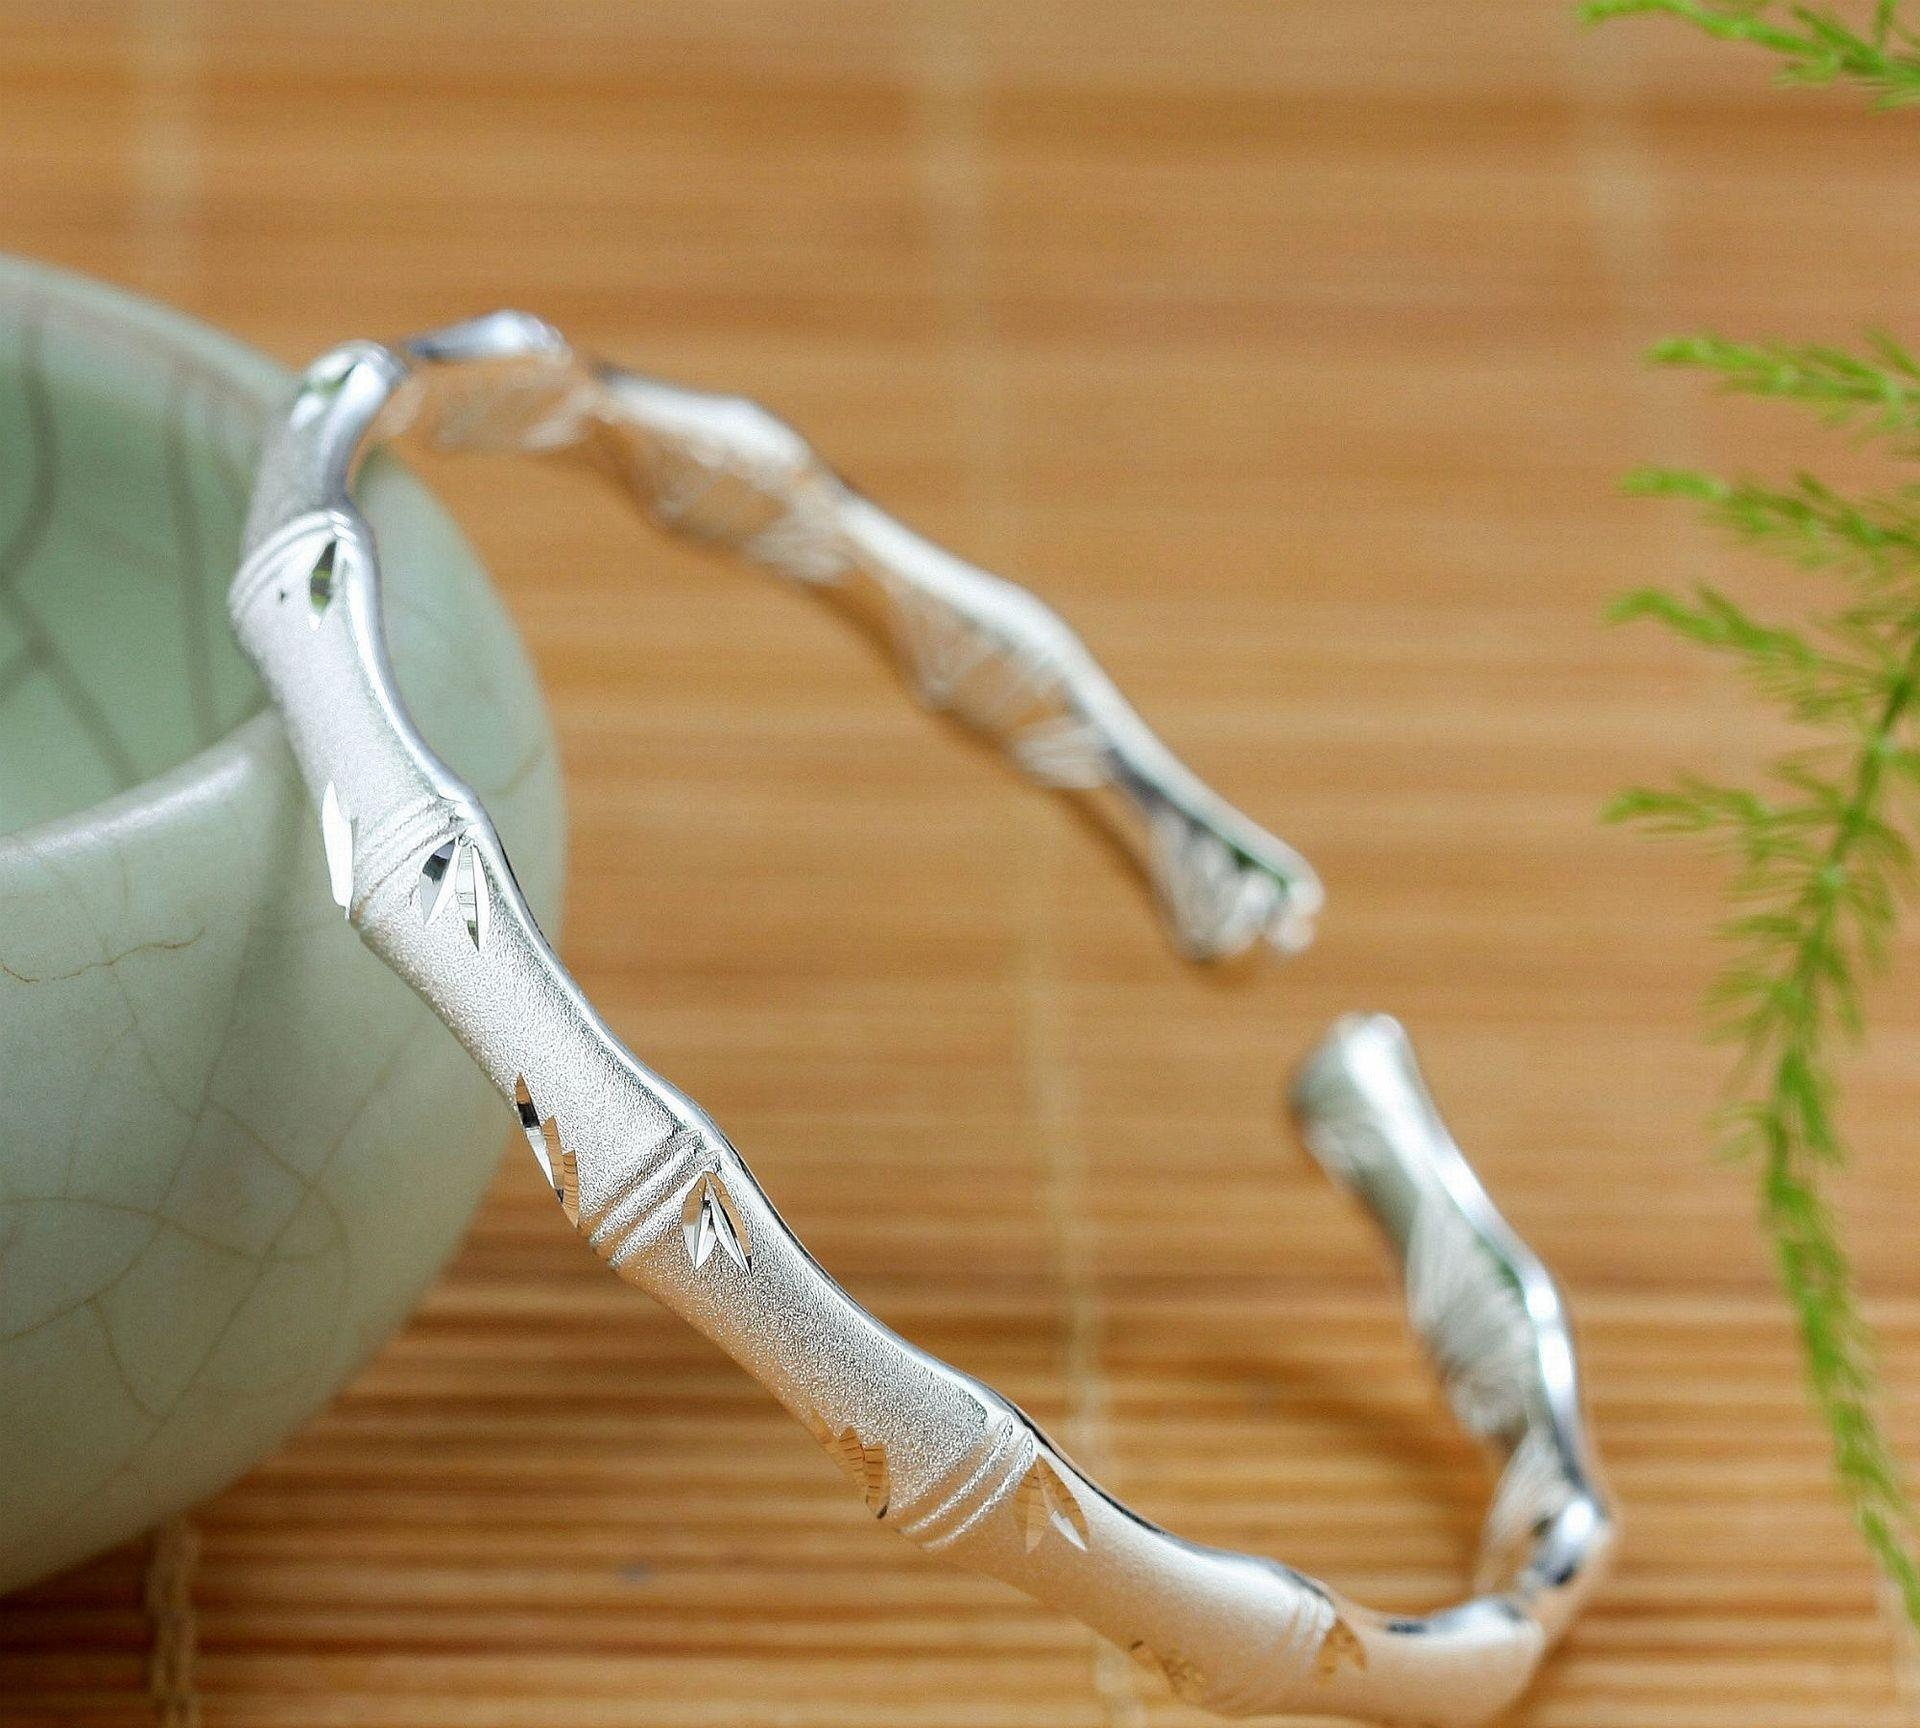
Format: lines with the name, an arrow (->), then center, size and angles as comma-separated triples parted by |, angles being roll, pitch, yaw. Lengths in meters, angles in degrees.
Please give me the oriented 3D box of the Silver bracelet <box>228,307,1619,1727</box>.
Silver bracelet -> -0.048, 0.018, 1.141 | 0.082, 0.390, 0.398 | -41, -67, 16
